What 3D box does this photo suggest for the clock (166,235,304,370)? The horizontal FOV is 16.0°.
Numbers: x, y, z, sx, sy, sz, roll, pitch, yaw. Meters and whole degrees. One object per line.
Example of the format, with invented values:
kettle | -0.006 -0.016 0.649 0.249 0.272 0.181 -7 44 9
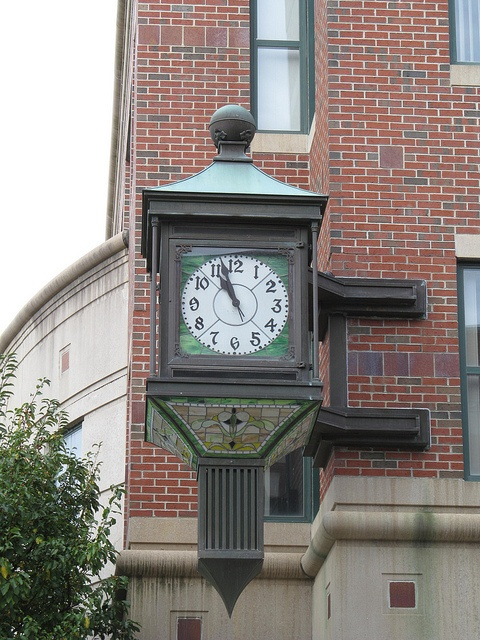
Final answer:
clock | -0.084 -0.075 11.906 0.779 0.932 0.062 4 -23 -7
